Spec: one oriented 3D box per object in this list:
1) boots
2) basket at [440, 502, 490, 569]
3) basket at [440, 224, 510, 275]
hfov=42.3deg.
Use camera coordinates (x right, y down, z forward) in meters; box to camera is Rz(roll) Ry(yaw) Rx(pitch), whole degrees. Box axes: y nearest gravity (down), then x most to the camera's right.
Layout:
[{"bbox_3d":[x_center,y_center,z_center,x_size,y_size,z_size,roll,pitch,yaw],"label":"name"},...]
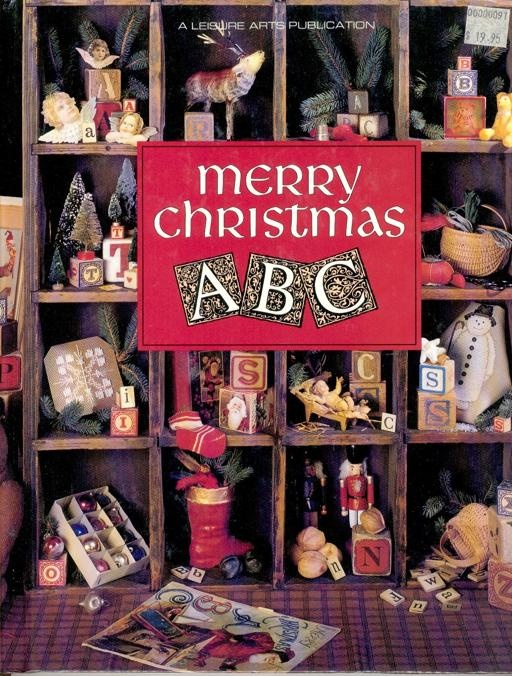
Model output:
[{"bbox_3d":[-0.122,0.671,2.435,0.258,0.294,0.136,-3,10,-34],"label":"boots"},{"bbox_3d":[0.747,0.706,2.349,0.160,0.160,0.123,-32,41,-24],"label":"basket"},{"bbox_3d":[0.754,-0.292,2.275,0.190,0.129,0.171,2,15,-17],"label":"basket"}]
